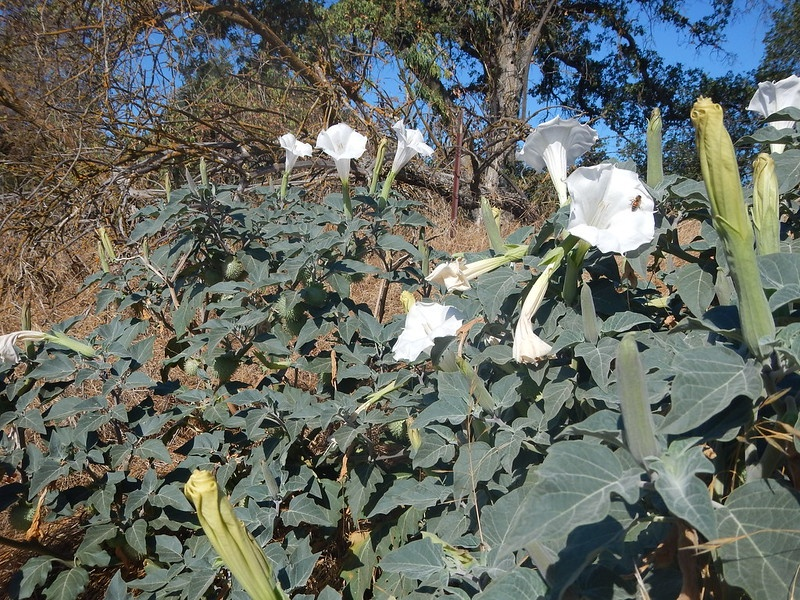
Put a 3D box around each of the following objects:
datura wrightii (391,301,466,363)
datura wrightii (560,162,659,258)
[{"bbox_3d":[0.075,0.078,1.587,0.196,0.166,0.145,-17,2,32],"label":"datura wrightii"},{"bbox_3d":[0.527,-0.231,1.418,0.314,0.222,0.106,-19,2,-39],"label":"datura wrightii"}]
